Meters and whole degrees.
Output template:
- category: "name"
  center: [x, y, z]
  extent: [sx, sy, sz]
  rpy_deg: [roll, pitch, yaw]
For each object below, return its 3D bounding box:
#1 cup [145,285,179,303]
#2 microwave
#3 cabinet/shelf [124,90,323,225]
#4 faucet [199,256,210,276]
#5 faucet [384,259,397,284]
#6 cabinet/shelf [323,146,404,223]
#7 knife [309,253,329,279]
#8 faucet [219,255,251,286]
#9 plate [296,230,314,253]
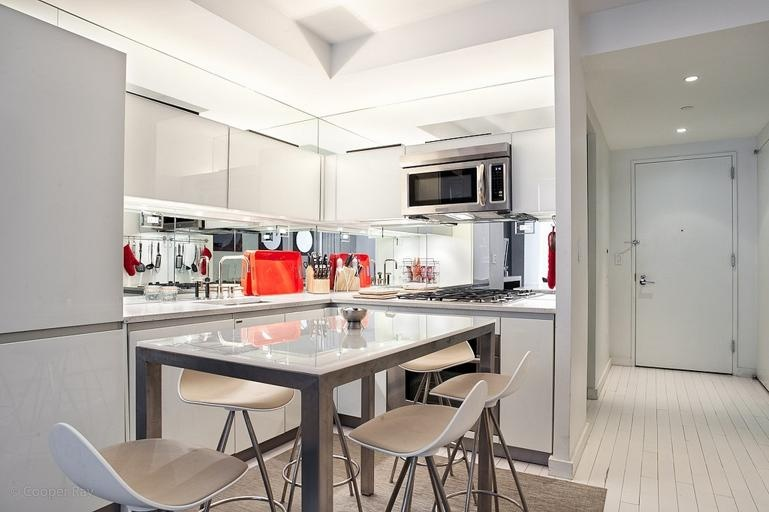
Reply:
- category: "cup"
  center: [-1.742, 0.293, 4.044]
  extent: [0.163, 0.074, 0.119]
  rpy_deg: [3, 1, 35]
- category: "microwave"
  center: [0.609, -0.608, 4.516]
  extent: [0.957, 0.485, 0.152]
  rpy_deg: [3, 7, 29]
- category: "cabinet/shelf"
  center: [-1.344, -0.727, 4.340]
  extent: [0.249, 0.657, 1.850]
  rpy_deg: [1, -2, 39]
- category: "faucet"
  center: [-1.523, 0.084, 4.388]
  extent: [0.025, 0.173, 0.088]
  rpy_deg: [6, 8, 42]
- category: "faucet"
  center: [0.073, 0.168, 5.697]
  extent: [0.141, 0.277, 0.041]
  rpy_deg: [-2, 6, -23]
- category: "cabinet/shelf"
  center: [-0.184, -0.674, 4.937]
  extent: [0.688, 0.559, 0.237]
  rpy_deg: [0, 1, 27]
- category: "knife"
  center: [-0.634, 0.097, 4.978]
  extent: [0.266, 0.219, 0.136]
  rpy_deg: [6, 8, 44]
- category: "faucet"
  center: [-1.299, 0.114, 4.488]
  extent: [0.294, 0.260, 0.296]
  rpy_deg: [-3, 7, -28]
- category: "plate"
  center: [-0.804, -0.153, 5.191]
  extent: [0.216, 0.278, 0.031]
  rpy_deg: [1, 3, -6]
